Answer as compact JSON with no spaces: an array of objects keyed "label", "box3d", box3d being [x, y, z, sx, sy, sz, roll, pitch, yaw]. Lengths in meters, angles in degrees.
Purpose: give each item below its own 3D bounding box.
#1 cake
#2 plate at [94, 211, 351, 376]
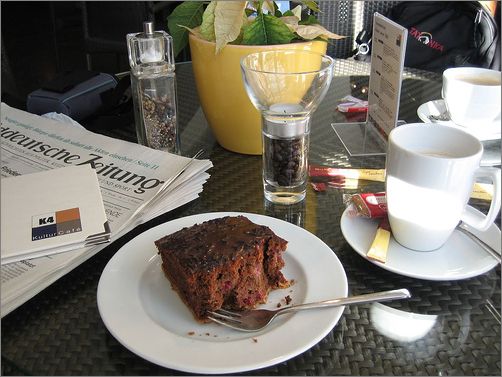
[{"label":"cake","box3d":[-0.045,0.104,0.615,0.166,0.087,0.200,22,22,27]},{"label":"plate","box3d":[-0.039,0.139,0.563,0.341,0.047,0.282,9,39,13]}]
